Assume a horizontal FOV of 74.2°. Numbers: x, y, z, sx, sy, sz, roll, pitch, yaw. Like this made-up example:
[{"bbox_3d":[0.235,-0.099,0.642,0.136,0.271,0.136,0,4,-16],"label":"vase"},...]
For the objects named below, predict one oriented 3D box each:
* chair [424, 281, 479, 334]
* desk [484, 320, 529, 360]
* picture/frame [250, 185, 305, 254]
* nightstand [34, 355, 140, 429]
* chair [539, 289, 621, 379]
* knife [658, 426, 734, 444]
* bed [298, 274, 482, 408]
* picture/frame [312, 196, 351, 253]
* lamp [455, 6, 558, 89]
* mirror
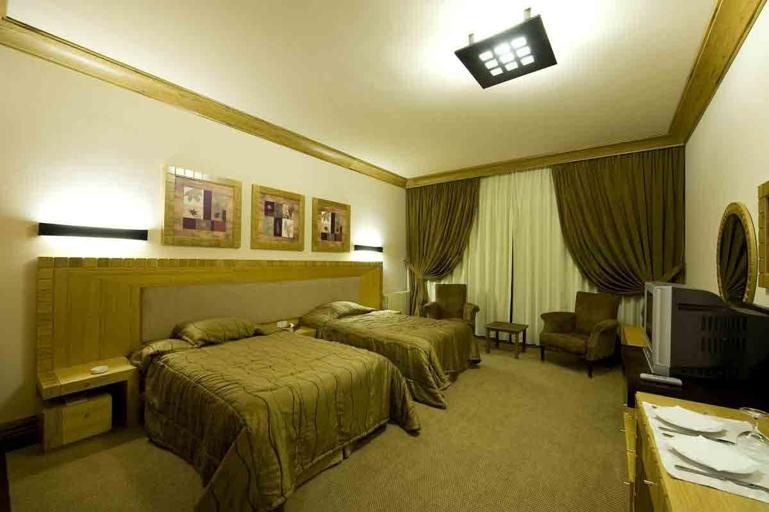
[{"bbox_3d":[1.073,0.958,8.340,0.890,0.988,0.827,0,1,-4],"label":"chair"},{"bbox_3d":[1.902,1.255,7.845,0.602,0.458,0.498,-3,-4,41],"label":"desk"},{"bbox_3d":[-1.489,-0.513,7.072,0.140,0.869,0.879,1,1,36],"label":"picture/frame"},{"bbox_3d":[-3.338,1.562,5.554,1.095,0.675,1.139,-4,5,-23],"label":"nightstand"},{"bbox_3d":[2.821,1.060,7.177,0.971,1.106,0.993,3,0,-11],"label":"chair"},{"bbox_3d":[2.434,1.379,3.912,0.368,0.057,0.065,5,35,16],"label":"knife"},{"bbox_3d":[0.030,1.181,7.264,2.536,0.695,2.132,7,7,39],"label":"bed"},{"bbox_3d":[-0.828,-0.457,7.824,0.771,0.774,0.047,9,10,36],"label":"picture/frame"},{"bbox_3d":[1.311,-2.189,5.396,0.912,0.504,0.600,0,1,26],"label":"lamp"},{"bbox_3d":[3.581,-0.013,5.104,0.099,1.129,1.037,0,-2,16],"label":"mirror"}]
